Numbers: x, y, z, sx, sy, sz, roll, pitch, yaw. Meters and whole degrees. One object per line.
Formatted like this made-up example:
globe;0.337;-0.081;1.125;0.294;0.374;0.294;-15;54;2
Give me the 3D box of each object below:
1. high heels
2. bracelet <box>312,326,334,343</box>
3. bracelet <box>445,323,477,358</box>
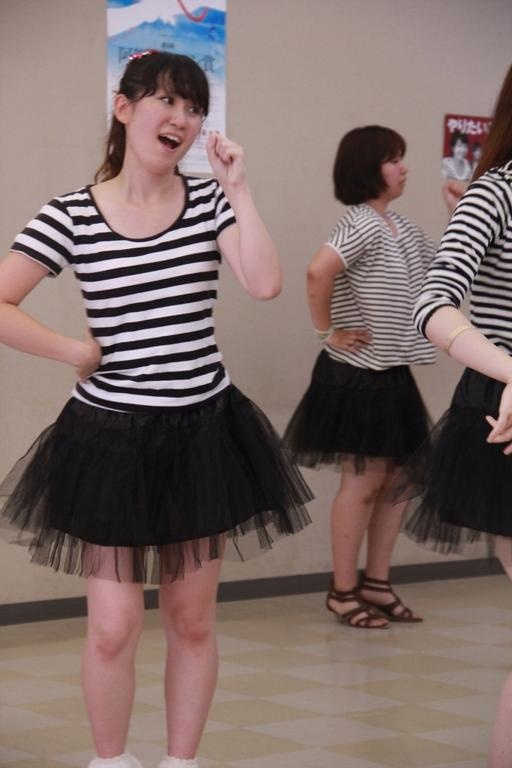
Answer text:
high heels;0.454;0.873;2.796;0.197;0.103;0.283;-5;6;-39
bracelet;0.265;-0.191;2.777;0.061;0.049;0.059;-6;-3;-20
bracelet;0.261;-0.058;0.919;0.011;0.037;0.035;22;57;17
